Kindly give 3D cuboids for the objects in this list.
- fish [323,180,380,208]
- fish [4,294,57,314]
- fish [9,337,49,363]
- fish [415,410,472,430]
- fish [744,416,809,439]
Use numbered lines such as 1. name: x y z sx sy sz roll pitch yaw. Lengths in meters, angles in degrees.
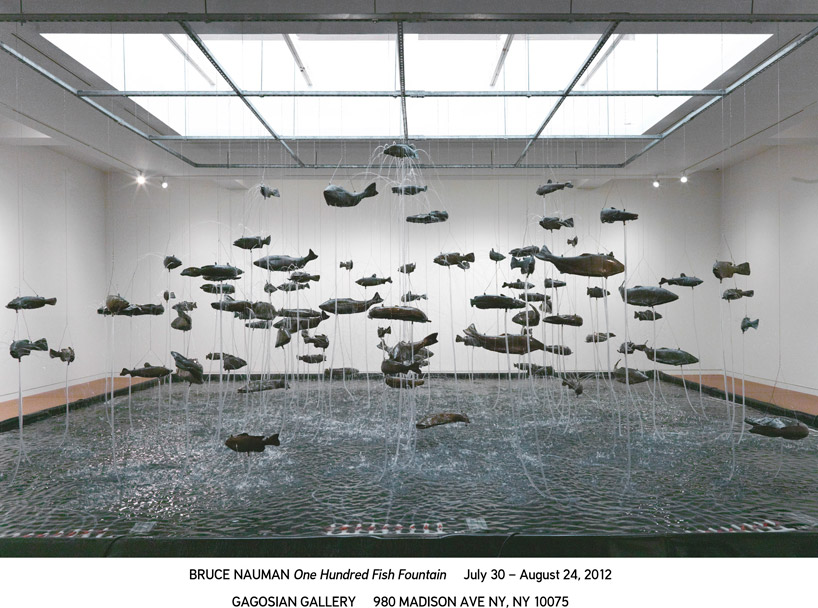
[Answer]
1. fish: -0.779 -1.491 8.622 0.661 0.349 0.862 0 13 2
2. fish: -6.222 0.009 10.086 0.631 0.250 0.310 -6 4 -24
3. fish: -5.402 0.622 8.847 0.461 0.294 0.563 -5 -6 36
4. fish: 0.456 1.565 8.396 0.656 0.171 0.439 -2 1 -14
5. fish: 4.820 1.630 8.126 0.752 0.232 0.505 7 7 15
